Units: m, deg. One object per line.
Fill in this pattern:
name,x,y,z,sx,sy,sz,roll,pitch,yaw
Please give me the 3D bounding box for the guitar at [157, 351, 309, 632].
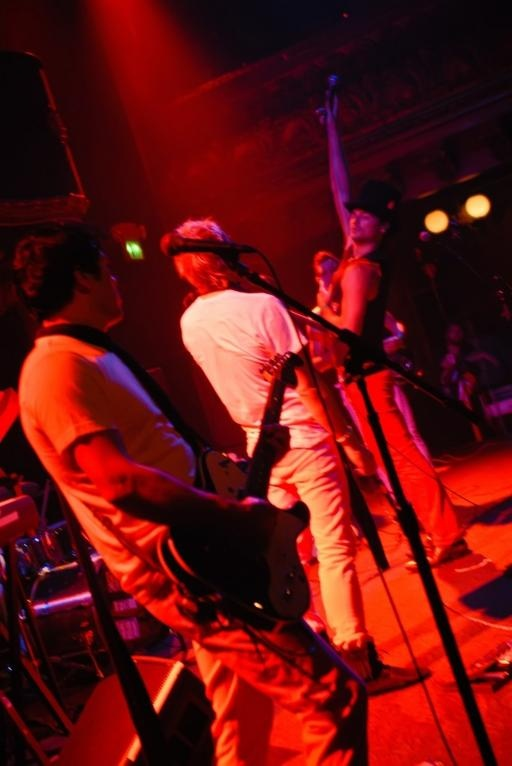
guitar,-0.017,0.392,2.073,0.308,0.530,0.857,-18,7,9
